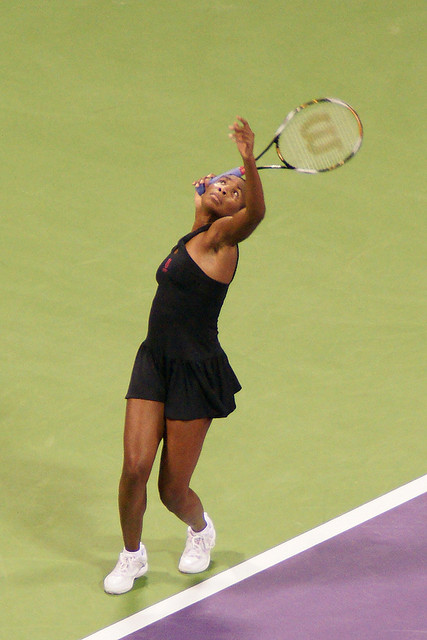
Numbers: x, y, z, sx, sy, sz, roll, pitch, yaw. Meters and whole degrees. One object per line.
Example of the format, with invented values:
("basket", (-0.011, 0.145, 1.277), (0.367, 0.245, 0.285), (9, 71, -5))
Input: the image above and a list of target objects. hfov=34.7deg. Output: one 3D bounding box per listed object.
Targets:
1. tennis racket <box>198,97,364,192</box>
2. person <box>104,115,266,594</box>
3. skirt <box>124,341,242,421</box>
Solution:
("tennis racket", (0.255, -0.759, 3.257), (1.077, 0.298, 0.075), (-15, 14, 44))
("person", (-0.130, 0.187, 2.611), (0.679, 1.803, 0.379), (-3, 15, 1))
("skirt", (-0.120, 0.259, 2.605), (0.492, 0.259, 0.301), (2, -20, 2))
